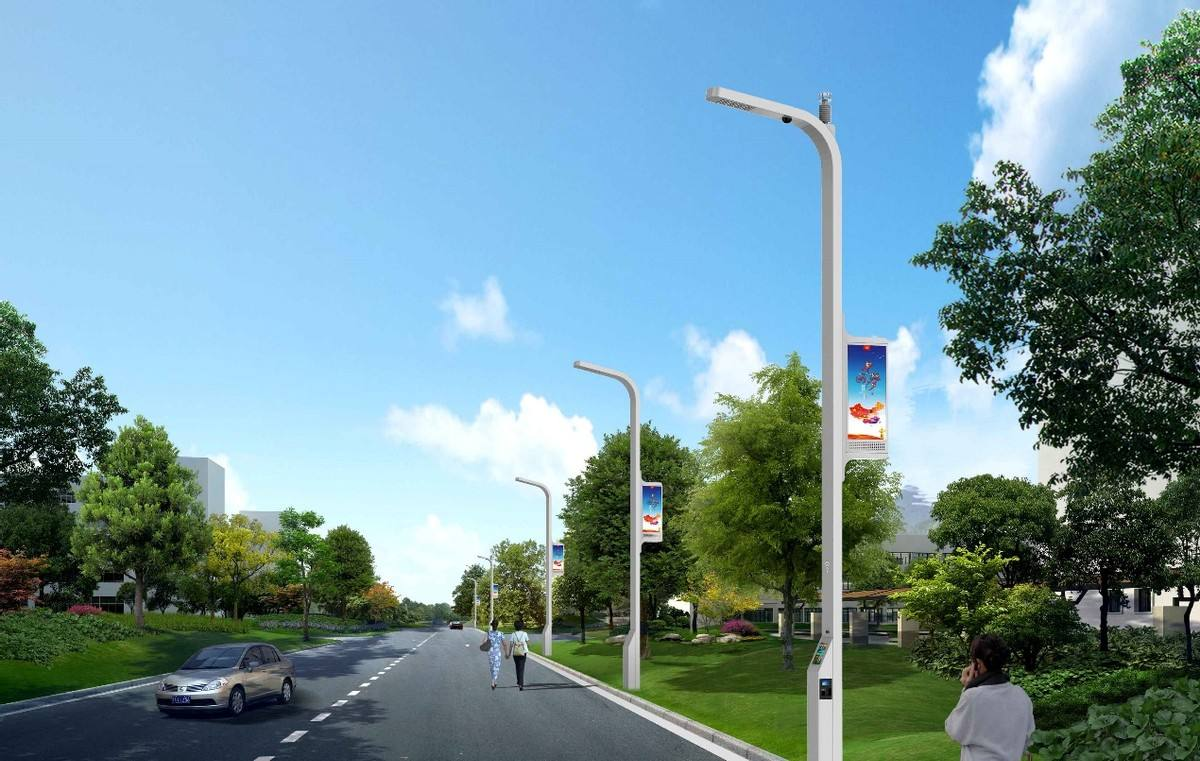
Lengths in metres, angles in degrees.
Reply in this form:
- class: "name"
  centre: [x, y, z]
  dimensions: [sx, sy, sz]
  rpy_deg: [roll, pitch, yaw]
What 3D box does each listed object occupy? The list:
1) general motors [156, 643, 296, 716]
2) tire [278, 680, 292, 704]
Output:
- class: "general motors"
  centre: [-12.432, 9.866, 35.283]
  dimensions: [1.992, 2.414, 4.143]
  rpy_deg: [-4, -20, 24]
- class: "tire"
  centre: [-10.980, 10.794, 36.710]
  dimensions: [0.244, 0.792, 0.766]
  rpy_deg: [-7, -13, 15]
